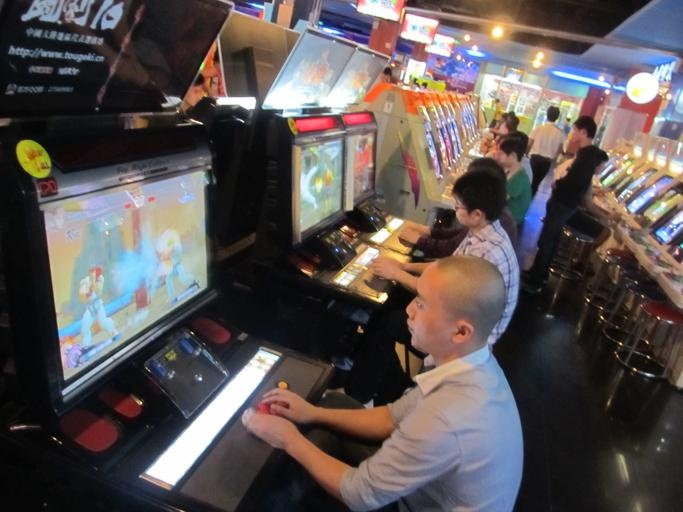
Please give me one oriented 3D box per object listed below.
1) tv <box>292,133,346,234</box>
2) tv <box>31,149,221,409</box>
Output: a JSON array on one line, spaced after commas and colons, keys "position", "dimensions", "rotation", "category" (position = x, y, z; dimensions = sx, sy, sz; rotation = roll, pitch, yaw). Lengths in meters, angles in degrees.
[{"position": [-0.114, -0.429, 2.624], "dimensions": [0.162, 0.488, 0.731], "rotation": [20, 26, 13], "category": "tv"}, {"position": [-0.733, 0.083, 1.489], "dimensions": [0.104, 0.687, 0.778], "rotation": [11, 21, 16], "category": "tv"}]
